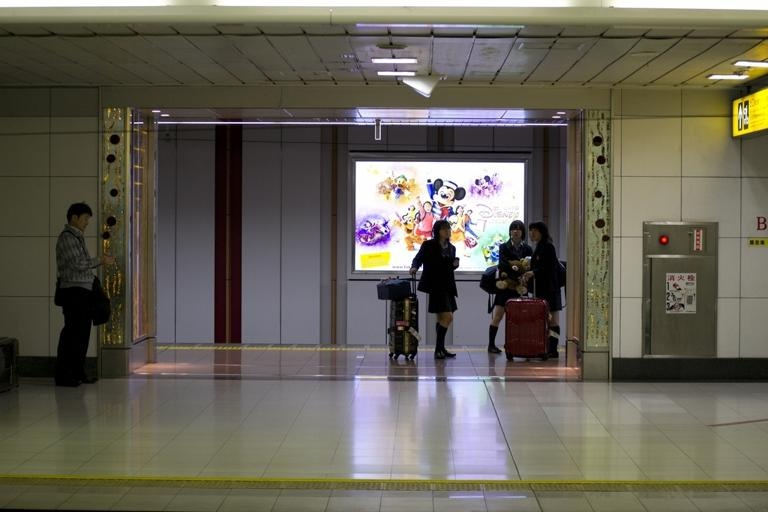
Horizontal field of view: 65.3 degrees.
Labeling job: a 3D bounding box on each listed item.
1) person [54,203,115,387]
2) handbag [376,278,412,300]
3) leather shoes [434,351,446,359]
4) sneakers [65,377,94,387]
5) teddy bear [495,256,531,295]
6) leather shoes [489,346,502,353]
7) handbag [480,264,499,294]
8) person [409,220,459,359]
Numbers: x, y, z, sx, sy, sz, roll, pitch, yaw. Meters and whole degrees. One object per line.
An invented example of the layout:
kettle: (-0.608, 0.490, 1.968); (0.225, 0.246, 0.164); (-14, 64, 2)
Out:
person: (-3.863, 0.490, 7.655); (0.651, 2.295, 0.372); (-2, 5, -27)
handbag: (0.149, 0.497, 9.098); (0.456, 0.260, 0.332); (-1, 5, -6)
leather shoes: (0.859, 1.534, 9.223); (0.174, 0.115, 0.091); (-1, -18, 3)
sneakers: (-3.865, 1.617, 7.659); (0.097, 0.083, 0.292); (1, 8, 27)
teddy bear: (1.997, 0.297, 9.179); (0.534, 0.393, 0.340); (-5, 20, 29)
leather shoes: (1.750, 1.492, 9.486); (0.093, 0.066, 0.160); (3, -6, -45)
handbag: (1.651, 0.394, 9.498); (0.442, 0.390, 0.303); (2, -1, 4)
person: (0.780, 0.517, 9.181); (0.710, 2.108, 0.467); (0, 4, -6)
